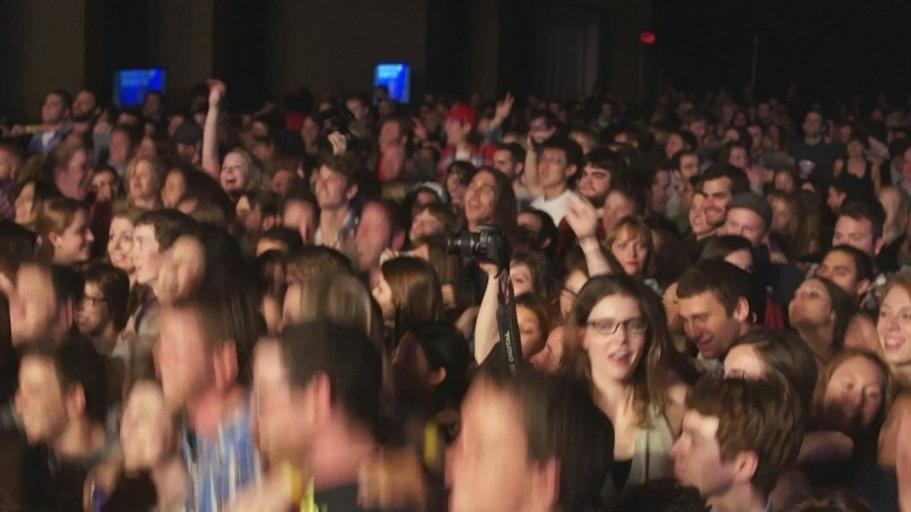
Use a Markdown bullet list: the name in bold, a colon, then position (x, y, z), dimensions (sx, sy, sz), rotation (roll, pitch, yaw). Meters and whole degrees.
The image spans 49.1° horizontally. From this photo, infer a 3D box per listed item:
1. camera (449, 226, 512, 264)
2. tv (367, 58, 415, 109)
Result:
- **camera**: position (0.198, -0.098, 6.959), dimensions (0.491, 0.207, 0.402), rotation (0, 1, 26)
- **tv**: position (-1.269, -3.287, 19.306), dimensions (1.207, 0.969, 0.269), rotation (-3, 11, -41)
